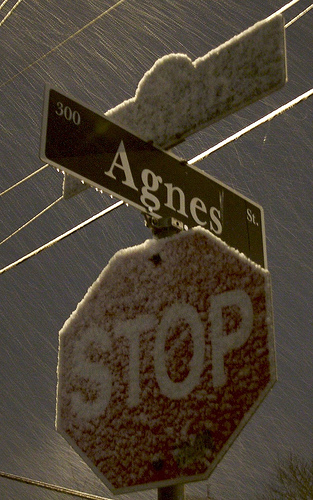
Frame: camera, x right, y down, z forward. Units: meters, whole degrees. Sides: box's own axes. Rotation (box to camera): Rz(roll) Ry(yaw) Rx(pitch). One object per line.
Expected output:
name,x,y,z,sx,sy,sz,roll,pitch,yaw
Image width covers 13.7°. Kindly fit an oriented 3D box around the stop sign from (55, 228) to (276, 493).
stop sign,0.036,0.348,3.948,0.573,0.025,0.678,-19,65,31
